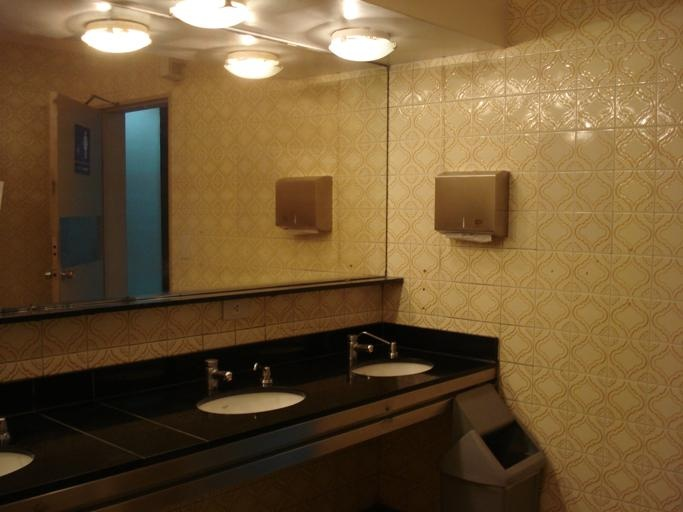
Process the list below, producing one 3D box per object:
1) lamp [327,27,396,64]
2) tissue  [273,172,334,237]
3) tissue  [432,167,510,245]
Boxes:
[{"bbox_3d":[0.112,-1.036,2.611,0.167,0.044,0.168,2,-4,42],"label":"lamp"},{"bbox_3d":[-0.217,-0.278,2.846,0.334,0.345,0.169,-3,11,-42],"label":"tissue "},{"bbox_3d":[0.626,-0.262,2.853,0.377,0.382,0.126,-2,2,-24],"label":"tissue "}]
